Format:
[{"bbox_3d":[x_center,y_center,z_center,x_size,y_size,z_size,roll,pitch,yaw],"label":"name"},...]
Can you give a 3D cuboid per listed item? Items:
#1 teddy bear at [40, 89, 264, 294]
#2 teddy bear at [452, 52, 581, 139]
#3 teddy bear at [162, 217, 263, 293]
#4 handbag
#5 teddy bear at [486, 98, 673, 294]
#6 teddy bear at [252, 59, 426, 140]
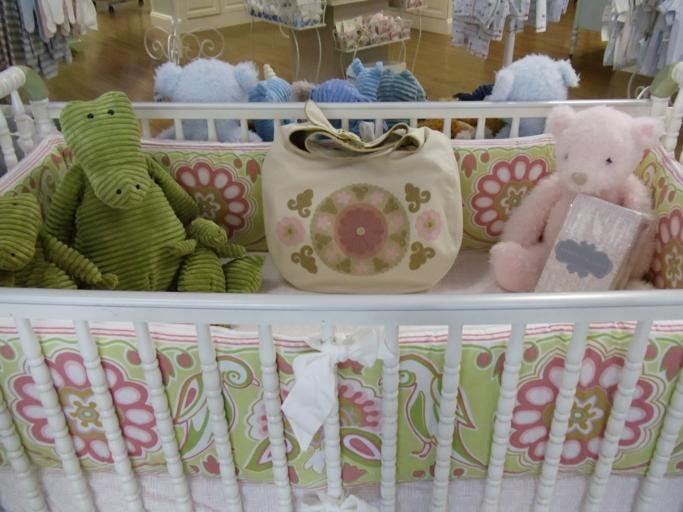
[{"bbox_3d":[-0.577,-0.136,1.711,0.551,0.598,0.419,-21,39,-28],"label":"teddy bear"},{"bbox_3d":[0.677,-0.635,2.297,0.450,0.343,0.327,0,23,-47],"label":"teddy bear"},{"bbox_3d":[-0.362,-0.036,1.907,0.338,0.238,0.152,17,59,-26],"label":"teddy bear"},{"bbox_3d":[0.062,-0.168,1.872,0.517,0.524,0.231,-1,24,1],"label":"handbag"},{"bbox_3d":[0.685,-0.141,1.774,0.421,0.531,0.418,10,31,28],"label":"teddy bear"},{"bbox_3d":[-0.005,-0.638,2.355,0.505,0.241,0.378,-7,19,3],"label":"teddy bear"}]
